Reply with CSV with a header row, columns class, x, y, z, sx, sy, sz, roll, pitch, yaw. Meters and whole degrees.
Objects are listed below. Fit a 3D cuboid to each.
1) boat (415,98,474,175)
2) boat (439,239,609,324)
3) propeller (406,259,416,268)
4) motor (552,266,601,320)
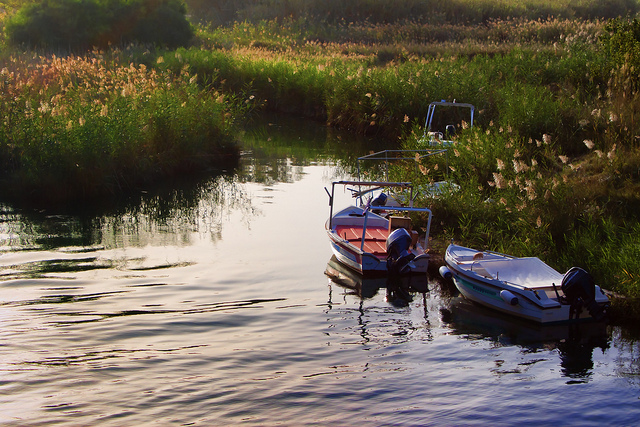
class,x,y,z,sx,sy,sz,roll,pitch,yaw
boat,3.637,-2.255,26.870,1.531,1.642,1.011,6,13,42
boat,4.117,1.628,19.928,1.445,0.881,2.922,-7,17,-34
propeller,2.017,1.096,20.842,0.024,0.183,0.106,-1,41,47
motor,5.273,1.616,19.473,0.695,1.046,0.752,-2,-3,-4
